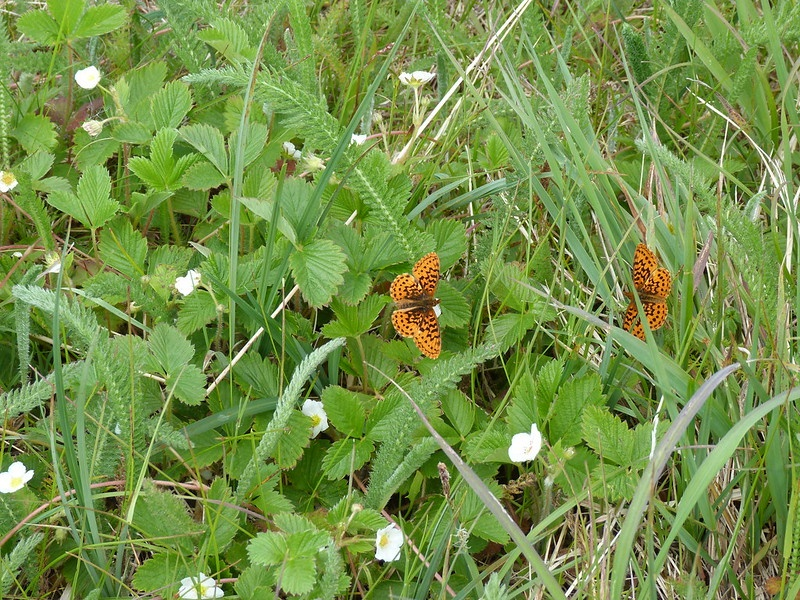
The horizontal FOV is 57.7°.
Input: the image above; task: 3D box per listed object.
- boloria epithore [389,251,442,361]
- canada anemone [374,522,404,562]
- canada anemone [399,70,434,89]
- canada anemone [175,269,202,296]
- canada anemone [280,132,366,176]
[{"bbox_3d":[0.051,0.019,2.251,0.145,0.220,0.204,-5,51,-8],"label":"boloria epithore"},{"bbox_3d":[-0.033,0.686,2.042,0.082,0.035,0.107,1,78,-44],"label":"canada anemone"},{"bbox_3d":[0.057,-0.879,2.921,0.130,0.081,0.156,-3,18,-6],"label":"canada anemone"},{"bbox_3d":[-0.706,-0.055,2.440,0.087,0.027,0.089,38,66,26],"label":"canada anemone"},{"bbox_3d":[-0.263,-0.506,2.492,0.183,0.188,0.060,14,54,-43],"label":"canada anemone"}]
